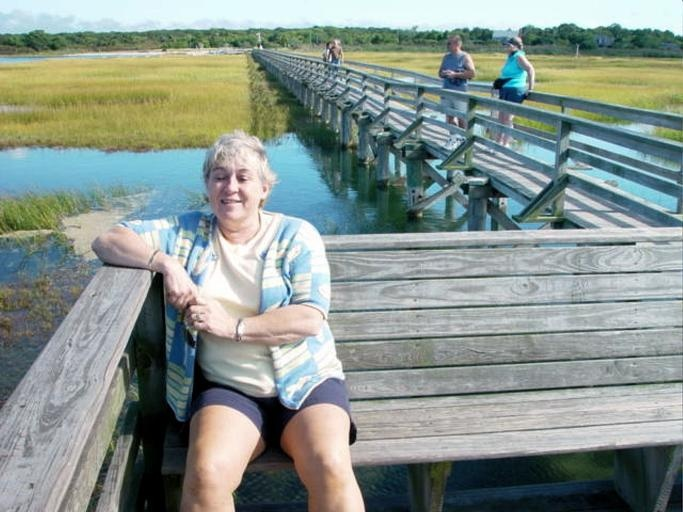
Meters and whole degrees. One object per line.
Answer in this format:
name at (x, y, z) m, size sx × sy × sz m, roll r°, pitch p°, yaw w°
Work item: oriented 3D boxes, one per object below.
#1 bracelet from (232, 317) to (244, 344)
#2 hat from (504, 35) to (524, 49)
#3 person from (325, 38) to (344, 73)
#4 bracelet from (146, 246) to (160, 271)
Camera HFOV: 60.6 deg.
bracelet at (-0.466, 0.342, 2.642) m, size 0.053 × 0.088 × 0.086 m, roll 6°, pitch -12°, yaw 3°
hat at (2.631, -3.248, 8.867) m, size 0.240 × 0.204 × 0.323 m, roll 12°, pitch 27°, yaw 24°
person at (-0.261, -8.139, 24.160) m, size 0.568 × 1.667 × 0.528 m, roll 12°, pitch 42°, yaw 11°
bracelet at (-0.870, 0.021, 2.717) m, size 0.033 × 0.072 × 0.073 m, roll 7°, pitch 25°, yaw 15°
